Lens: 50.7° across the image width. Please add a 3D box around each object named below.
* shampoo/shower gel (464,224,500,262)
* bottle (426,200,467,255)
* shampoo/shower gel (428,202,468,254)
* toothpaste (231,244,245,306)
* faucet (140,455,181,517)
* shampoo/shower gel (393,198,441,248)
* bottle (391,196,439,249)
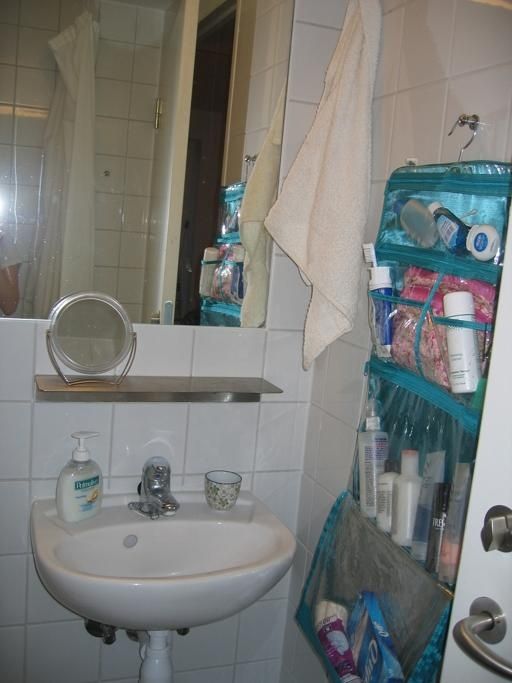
[{"bbox_3d":[0.288,-0.123,0.683,0.039,0.045,0.036,26,27,34],"label":"shampoo/shower gel"},{"bbox_3d":[0.265,-0.158,0.755,0.033,0.067,0.049,-8,17,-23],"label":"bottle"},{"bbox_3d":[0.266,-0.158,0.755,0.033,0.066,0.049,-9,17,-23],"label":"shampoo/shower gel"},{"bbox_3d":[-0.045,-0.157,1.310,0.032,0.157,0.016,0,-24,1],"label":"toothpaste"},{"bbox_3d":[-0.212,0.312,1.165,0.083,0.119,0.104,-1,15,-14],"label":"faucet"},{"bbox_3d":[0.255,-0.182,0.837,0.040,0.073,0.070,-6,19,-23],"label":"shampoo/shower gel"},{"bbox_3d":[0.253,-0.184,0.838,0.040,0.077,0.073,-6,18,-20],"label":"bottle"}]
